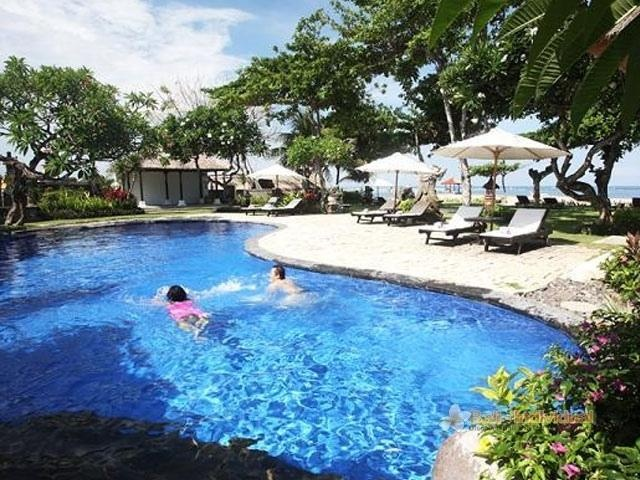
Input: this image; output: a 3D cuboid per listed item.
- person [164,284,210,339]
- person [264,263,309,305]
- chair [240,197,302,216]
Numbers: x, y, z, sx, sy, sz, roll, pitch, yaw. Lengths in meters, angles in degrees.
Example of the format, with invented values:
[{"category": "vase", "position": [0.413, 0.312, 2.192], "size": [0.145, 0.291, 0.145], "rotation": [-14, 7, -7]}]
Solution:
[{"category": "person", "position": [-2.110, 1.142, 7.120], "size": [0.434, 0.457, 1.173], "rotation": [4, 9, -37]}, {"category": "person", "position": [-0.656, 0.862, 8.135], "size": [0.619, 0.446, 0.731], "rotation": [-25, 43, -38]}, {"category": "chair", "position": [-2.804, -1.874, 24.617], "size": [3.301, 0.914, 1.989], "rotation": [8, 14, 39]}]
